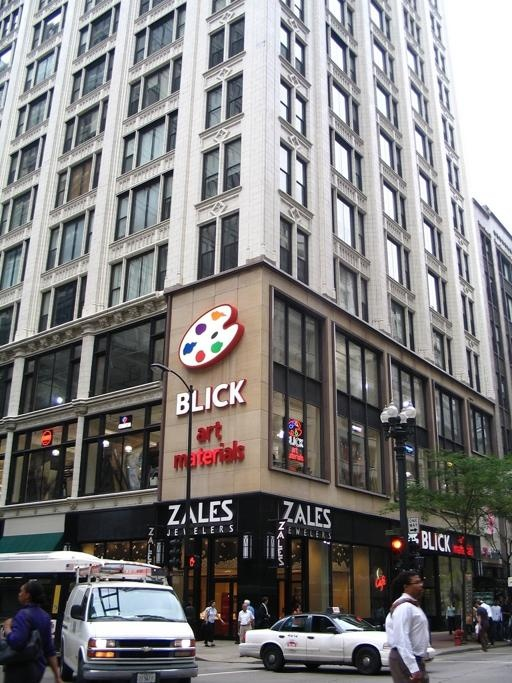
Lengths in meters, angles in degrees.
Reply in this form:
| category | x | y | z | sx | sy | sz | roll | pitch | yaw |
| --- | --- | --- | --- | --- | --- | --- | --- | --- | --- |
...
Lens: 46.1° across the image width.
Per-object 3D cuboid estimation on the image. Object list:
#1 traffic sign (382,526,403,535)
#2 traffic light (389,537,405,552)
| category | x | y | z | sx | sy | sz | roll | pitch | yaw |
| --- | --- | --- | --- | --- | --- | --- | --- | --- | --- |
| traffic sign | 4.723 | 6.591 | 20.786 | 0.440 | 0.298 | 2.295 | -4 | -21 | 9 |
| traffic light | 4.606 | 6.558 | 19.405 | 0.453 | 0.493 | 1.067 | -4 | -21 | 10 |
